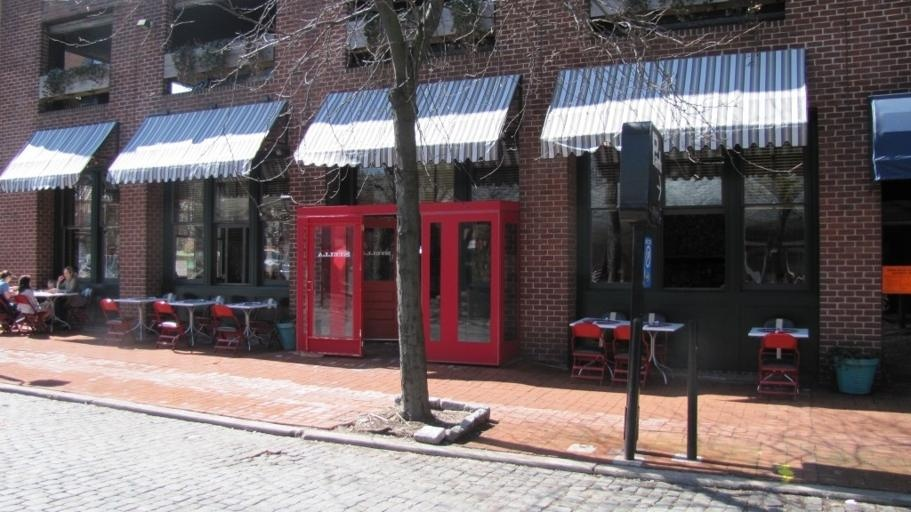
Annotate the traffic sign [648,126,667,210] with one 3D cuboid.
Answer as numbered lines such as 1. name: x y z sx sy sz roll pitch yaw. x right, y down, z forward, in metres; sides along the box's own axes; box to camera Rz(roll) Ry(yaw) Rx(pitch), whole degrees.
1. traffic sign: 3.881 -1.664 15.268 0.144 1.022 1.074 -2 -2 19

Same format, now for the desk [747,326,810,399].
1. desk: 7.363 2.441 17.993 1.787 1.934 1.515 0 -2 20

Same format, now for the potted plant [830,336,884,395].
1. potted plant: 9.003 2.517 17.899 0.961 0.951 0.610 -2 -1 22

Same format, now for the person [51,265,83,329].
1. person: -12.060 1.310 24.609 0.985 1.784 0.768 3 -3 -36

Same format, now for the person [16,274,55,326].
1. person: -12.431 1.298 23.436 0.788 1.385 0.963 -2 -1 10

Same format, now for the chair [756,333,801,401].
1. chair: 7.321 2.417 18.046 0.932 1.103 1.734 -2 -2 23
